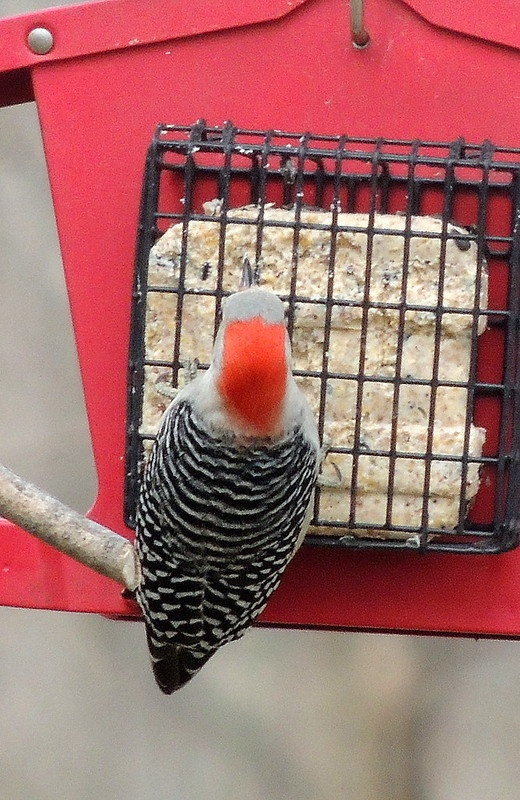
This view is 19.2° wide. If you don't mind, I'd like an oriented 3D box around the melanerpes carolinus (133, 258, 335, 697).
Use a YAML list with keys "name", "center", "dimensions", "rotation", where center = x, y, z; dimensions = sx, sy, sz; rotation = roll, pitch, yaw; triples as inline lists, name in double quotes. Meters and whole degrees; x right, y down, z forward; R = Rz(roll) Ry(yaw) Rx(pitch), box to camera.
- name: "melanerpes carolinus"
  center: [-0.039, 0.142, 2.089]
  dimensions: [0.256, 0.383, 0.586]
  rotation: [10, -25, -4]
